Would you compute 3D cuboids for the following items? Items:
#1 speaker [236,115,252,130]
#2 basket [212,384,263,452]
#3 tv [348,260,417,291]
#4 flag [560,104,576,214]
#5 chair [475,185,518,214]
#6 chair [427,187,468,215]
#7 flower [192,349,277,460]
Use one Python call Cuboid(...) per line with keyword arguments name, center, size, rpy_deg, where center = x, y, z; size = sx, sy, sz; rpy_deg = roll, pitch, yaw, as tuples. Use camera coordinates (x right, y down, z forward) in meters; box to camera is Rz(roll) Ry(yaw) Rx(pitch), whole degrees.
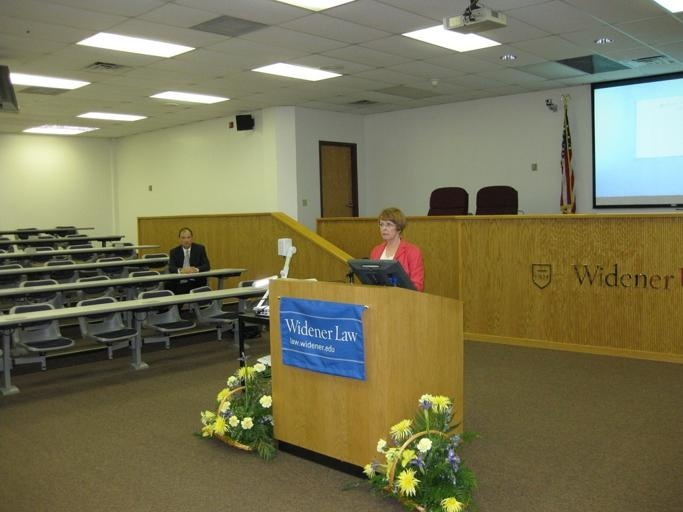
Cuboid(name="speaker", center=(-2.294, -3.191, 11.556), size=(0.328, 0.320, 0.179), rpy_deg=(4, 13, 18))
Cuboid(name="basket", center=(-0.866, 1.250, 3.860), size=(0.268, 0.424, 0.560), rpy_deg=(-3, 6, -16))
Cuboid(name="tv", center=(0.261, 0.113, 3.116), size=(0.425, 0.205, 0.249), rpy_deg=(0, 6, 8))
Cuboid(name="flag", center=(4.645, -2.089, 9.931), size=(0.313, 2.363, 0.462), rpy_deg=(1, 6, 24))
Cuboid(name="chair", center=(2.883, -1.044, 9.131), size=(0.612, 0.832, 0.684), rpy_deg=(-1, 3, 25))
Cuboid(name="chair", center=(2.068, -1.017, 9.506), size=(0.627, 0.891, 0.684), rpy_deg=(-1, 2, 31))
Cuboid(name="flower", center=(-0.760, 1.160, 3.844), size=(0.520, 0.428, 0.705), rpy_deg=(-1, -5, 7))
